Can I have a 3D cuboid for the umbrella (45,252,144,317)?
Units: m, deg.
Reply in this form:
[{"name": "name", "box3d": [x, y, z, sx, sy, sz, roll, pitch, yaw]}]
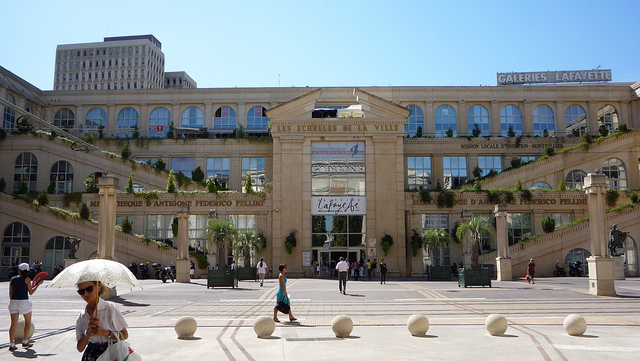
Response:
[{"name": "umbrella", "box3d": [-15.527, 7.348, 49.172, 4.400, 3.314, 4.261, -2, -7, -1]}]
